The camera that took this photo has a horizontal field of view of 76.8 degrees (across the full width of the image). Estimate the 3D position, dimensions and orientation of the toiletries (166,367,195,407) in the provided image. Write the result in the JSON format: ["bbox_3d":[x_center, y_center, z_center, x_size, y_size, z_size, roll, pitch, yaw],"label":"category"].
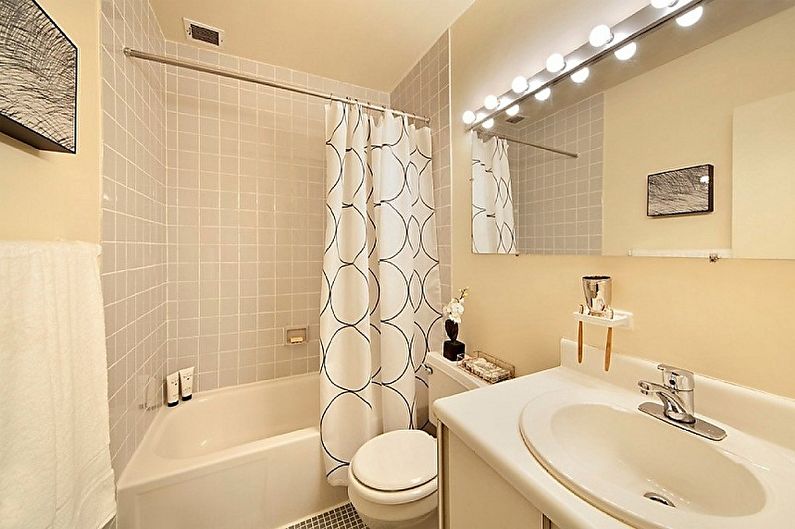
[{"bbox_3d":[-1.253,0.706,2.888,0.054,0.204,0.205,-4,-5,33],"label":"toiletries"}]

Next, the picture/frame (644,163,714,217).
[{"bbox_3d":[1.062,-0.278,1.867,0.027,0.181,0.201,-3,2,-38],"label":"picture/frame"}]

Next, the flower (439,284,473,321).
[{"bbox_3d":[0.319,0.220,2.666,0.124,0.192,0.237,-2,1,7],"label":"flower"}]

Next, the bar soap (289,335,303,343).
[{"bbox_3d":[-0.643,0.481,3.226,0.088,0.049,0.028,-2,1,-21],"label":"bar soap"}]
